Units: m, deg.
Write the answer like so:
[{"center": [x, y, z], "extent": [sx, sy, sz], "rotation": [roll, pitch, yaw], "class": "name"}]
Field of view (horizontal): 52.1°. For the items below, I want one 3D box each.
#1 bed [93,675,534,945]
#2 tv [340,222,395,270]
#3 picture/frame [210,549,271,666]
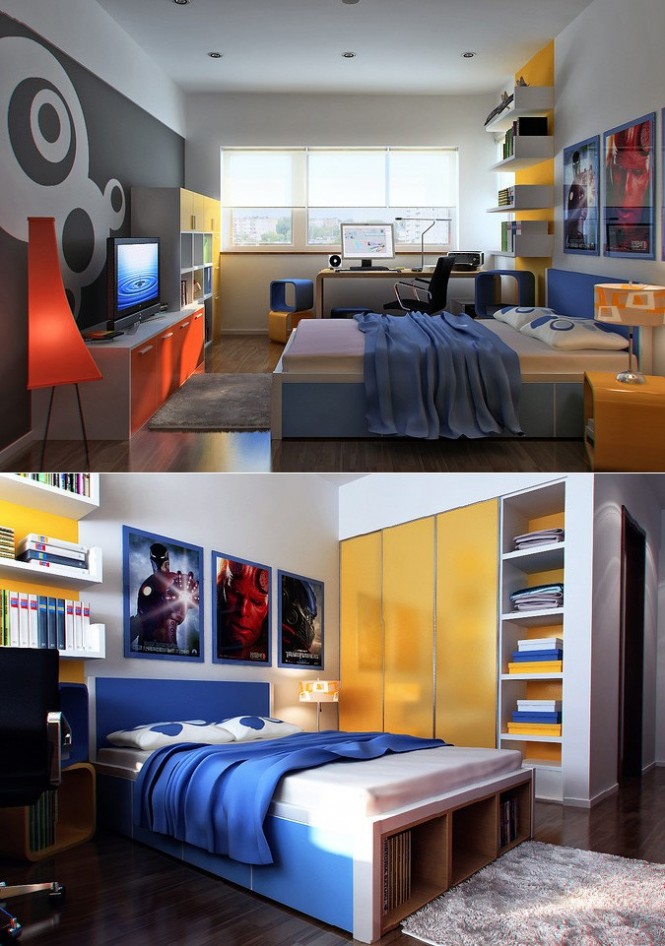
[{"center": [-0.157, 1.153, 2.812], "extent": [1.261, 0.569, 2.025], "rotation": [13, -18, -41], "class": "bed"}, {"center": [0.459, -3.220, 9.602], "extent": [0.727, 0.803, 0.337], "rotation": [0, 4, -3], "class": "tv"}, {"center": [-0.556, 0.764, 3.841], "extent": [0.015, 0.933, 0.576], "rotation": [-6, -9, 31], "class": "picture/frame"}]
